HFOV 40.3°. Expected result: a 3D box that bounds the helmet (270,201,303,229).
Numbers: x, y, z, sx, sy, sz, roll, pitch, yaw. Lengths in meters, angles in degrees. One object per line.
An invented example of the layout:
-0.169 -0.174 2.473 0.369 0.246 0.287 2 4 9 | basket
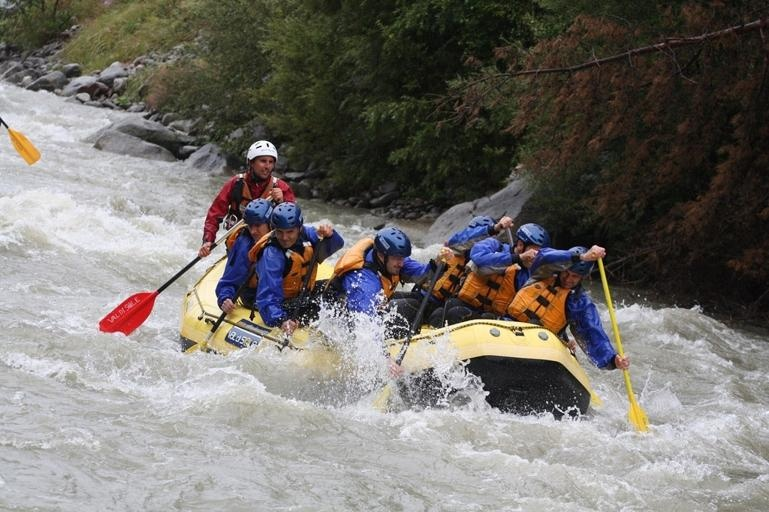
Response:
-1.405 -0.616 15.006 0.337 0.397 0.418 0 34 0 | helmet

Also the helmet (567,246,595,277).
2.757 0.080 14.504 0.314 0.382 0.418 11 -38 27 | helmet

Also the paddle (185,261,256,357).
-2.423 0.908 15.625 1.124 0.494 1.388 25 25 -2 | paddle

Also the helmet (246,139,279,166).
-1.941 -1.674 16.552 0.361 0.303 0.507 4 -22 -15 | helmet

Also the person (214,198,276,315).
-2.060 -0.014 15.343 0.569 1.586 0.907 18 6 -37 | person

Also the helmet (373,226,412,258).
0.094 -0.159 14.863 0.377 0.308 0.483 -5 44 -42 | helmet

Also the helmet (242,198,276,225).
-1.833 -0.639 15.540 0.328 0.395 0.432 -21 -7 20 | helmet

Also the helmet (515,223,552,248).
2.146 -0.353 15.110 0.320 0.256 0.409 18 10 -30 | helmet

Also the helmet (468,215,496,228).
1.442 -0.504 15.669 0.251 0.205 0.277 -1 -6 -28 | helmet

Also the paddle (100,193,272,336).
-3.224 0.216 16.911 0.526 2.956 0.118 60 -13 -27 | paddle
